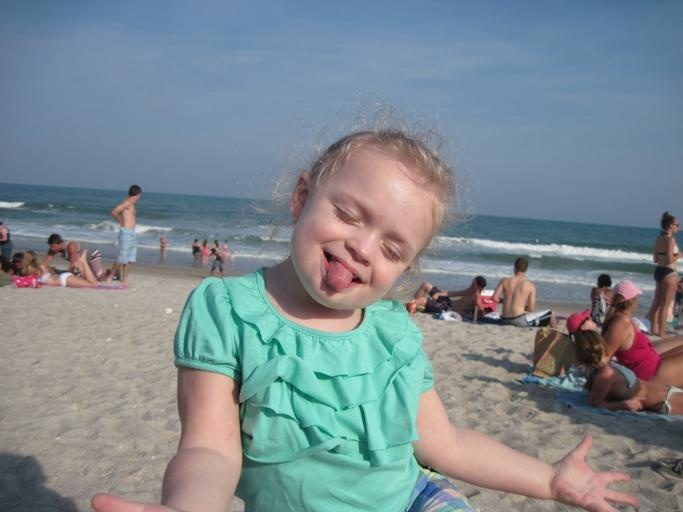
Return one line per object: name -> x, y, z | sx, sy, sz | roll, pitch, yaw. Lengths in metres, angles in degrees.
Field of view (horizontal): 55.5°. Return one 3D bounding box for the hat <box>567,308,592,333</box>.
hat -> 3.787, 1.034, 10.311 | 0.368, 0.314, 0.594 | 4, 15, 36
